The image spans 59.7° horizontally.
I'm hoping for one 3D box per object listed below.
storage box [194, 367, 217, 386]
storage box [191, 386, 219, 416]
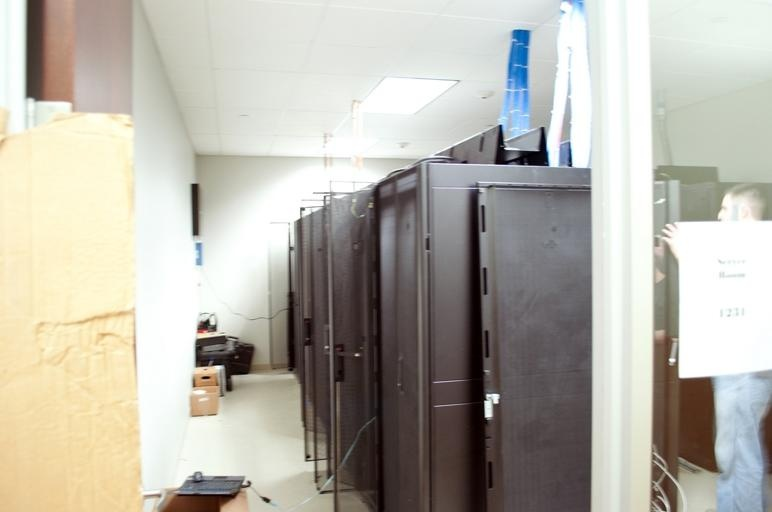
[{"bbox_3d":[-1.642,1.106,6.116,0.199,0.143,0.199,-1,-2,-21],"label":"storage box"},{"bbox_3d":[-1.581,1.265,5.852,0.236,0.219,0.310,-1,-2,-16],"label":"storage box"}]
